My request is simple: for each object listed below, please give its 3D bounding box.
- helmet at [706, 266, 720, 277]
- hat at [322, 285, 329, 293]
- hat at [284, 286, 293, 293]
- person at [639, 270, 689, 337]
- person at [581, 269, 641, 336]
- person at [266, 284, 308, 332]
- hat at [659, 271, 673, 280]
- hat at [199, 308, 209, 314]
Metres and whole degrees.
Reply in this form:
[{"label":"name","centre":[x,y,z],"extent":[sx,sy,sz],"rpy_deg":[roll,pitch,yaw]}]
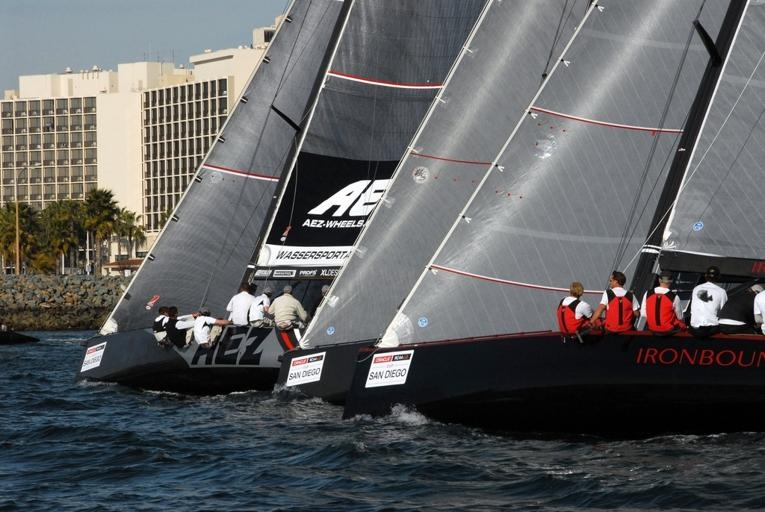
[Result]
[{"label":"helmet","centre":[4.182,0.202,13.553],"extent":[0.120,0.138,0.131],"rpy_deg":[4,-48,10]},{"label":"hat","centre":[-0.973,0.553,18.095],"extent":[0.104,0.122,0.123],"rpy_deg":[0,-33,-16]},{"label":"hat","centre":[-1.570,0.537,17.534],"extent":[0.090,0.079,0.129],"rpy_deg":[1,-2,2]},{"label":"person","centre":[3.576,0.584,13.504],"extent":[0.674,0.735,0.607],"rpy_deg":[-4,6,-21]},{"label":"person","centre":[2.914,0.573,13.565],"extent":[0.574,0.733,0.664],"rpy_deg":[-1,2,15]},{"label":"person","centre":[-1.571,0.858,17.640],"extent":[0.743,0.736,0.667],"rpy_deg":[4,9,12]},{"label":"hat","centre":[3.622,0.263,13.635],"extent":[0.145,0.095,0.230],"rpy_deg":[12,0,23]},{"label":"hat","centre":[-3.036,0.928,18.173],"extent":[0.097,0.121,0.126],"rpy_deg":[3,-22,5]}]
